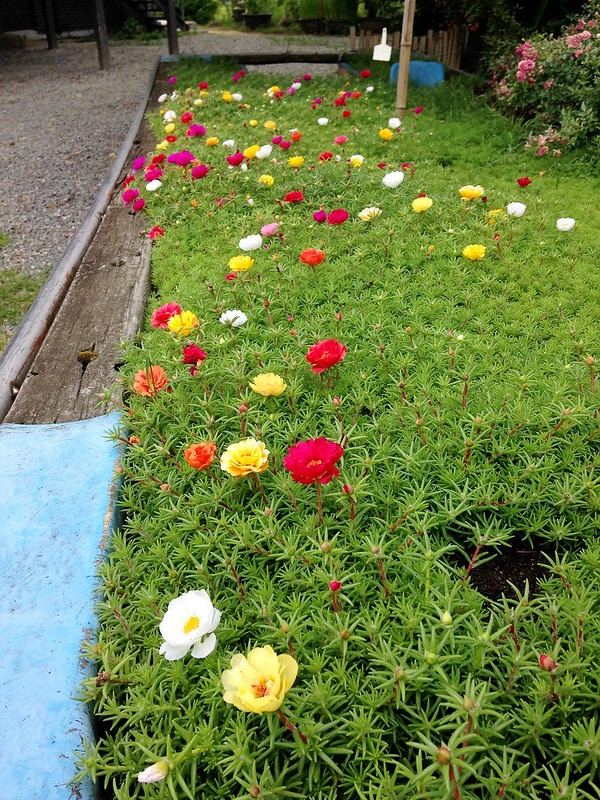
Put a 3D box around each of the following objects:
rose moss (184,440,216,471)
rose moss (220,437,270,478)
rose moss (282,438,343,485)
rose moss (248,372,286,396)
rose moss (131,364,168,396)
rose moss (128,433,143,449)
[{"bbox_3d":[-0.227,0.136,1.422,0.072,0.035,0.072,-23,39,1],"label":"rose moss"},{"bbox_3d":[-0.122,0.129,1.342,0.093,0.045,0.092,0,48,14],"label":"rose moss"},{"bbox_3d":[0.032,0.128,1.229,0.102,0.059,0.103,-3,41,15],"label":"rose moss"},{"bbox_3d":[-0.084,-0.027,1.616,0.072,0.040,0.076,-4,28,-6],"label":"rose moss"},{"bbox_3d":[-0.442,-0.066,1.830,0.095,0.047,0.097,-4,47,11],"label":"rose moss"},{"bbox_3d":[-0.483,0.130,1.826,0.039,0.026,0.039,13,47,-11],"label":"rose moss"}]
